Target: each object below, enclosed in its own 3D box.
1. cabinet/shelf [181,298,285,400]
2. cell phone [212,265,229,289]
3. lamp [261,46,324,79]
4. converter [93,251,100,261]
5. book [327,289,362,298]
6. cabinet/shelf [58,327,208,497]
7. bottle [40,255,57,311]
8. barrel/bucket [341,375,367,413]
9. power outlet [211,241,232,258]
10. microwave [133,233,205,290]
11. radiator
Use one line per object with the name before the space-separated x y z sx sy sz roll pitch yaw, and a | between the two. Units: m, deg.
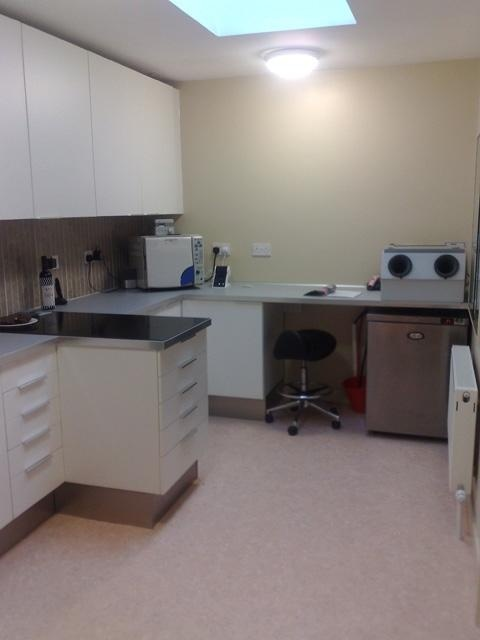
cabinet/shelf | -0.036 0.110 3.460 0.586 0.647 0.618 2 15 6
cell phone | -0.139 -0.302 3.506 0.111 0.141 0.099 -1 7 0
lamp | 0.281 -1.478 2.863 0.333 0.090 0.307 5 9 36
converter | -0.904 -0.416 3.195 0.030 0.071 0.066 0 7 1
book | 0.654 -0.165 3.119 0.184 0.029 0.399 1 7 14
cabinet/shelf | -0.438 0.369 2.139 0.472 0.625 0.492 2 7 17
bottle | -1.012 -0.197 2.636 0.081 0.279 0.147 -3 7 -22
barrel/bucket | 0.770 0.494 3.407 0.202 0.206 0.210 -2 8 0
power outlet | -0.146 -0.514 3.678 0.148 0.108 0.085 3 9 20
microwave | -0.455 -0.374 3.461 0.572 0.523 0.328 -3 8 -23
radiator | 0.923 0.437 2.076 0.073 0.403 0.562 1 37 15
